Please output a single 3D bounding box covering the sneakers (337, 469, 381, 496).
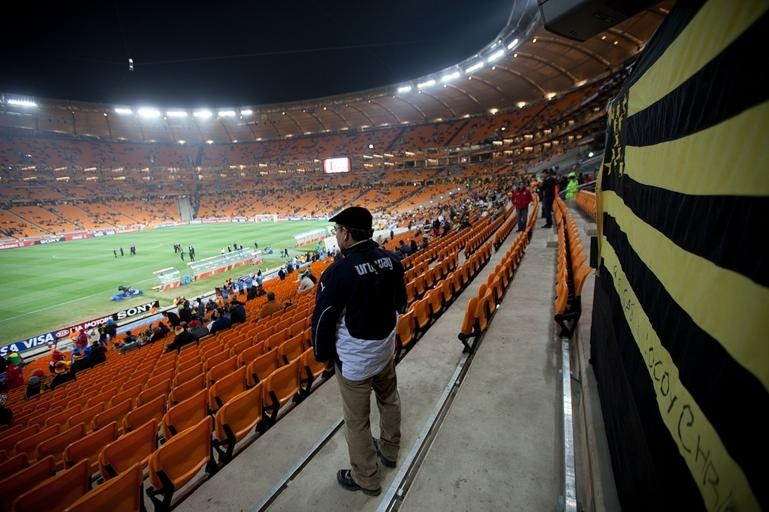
[{"bbox_3d":[-0.212,1.936,3.388,0.379,0.168,0.154,17,12,23],"label":"sneakers"}]

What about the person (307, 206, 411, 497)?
[{"bbox_3d":[-0.181,0.774,3.387,0.620,2.391,0.746,4,14,27],"label":"person"}]

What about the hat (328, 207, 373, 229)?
[{"bbox_3d":[-0.287,-0.328,3.345,0.292,0.142,0.217,20,8,9],"label":"hat"}]
